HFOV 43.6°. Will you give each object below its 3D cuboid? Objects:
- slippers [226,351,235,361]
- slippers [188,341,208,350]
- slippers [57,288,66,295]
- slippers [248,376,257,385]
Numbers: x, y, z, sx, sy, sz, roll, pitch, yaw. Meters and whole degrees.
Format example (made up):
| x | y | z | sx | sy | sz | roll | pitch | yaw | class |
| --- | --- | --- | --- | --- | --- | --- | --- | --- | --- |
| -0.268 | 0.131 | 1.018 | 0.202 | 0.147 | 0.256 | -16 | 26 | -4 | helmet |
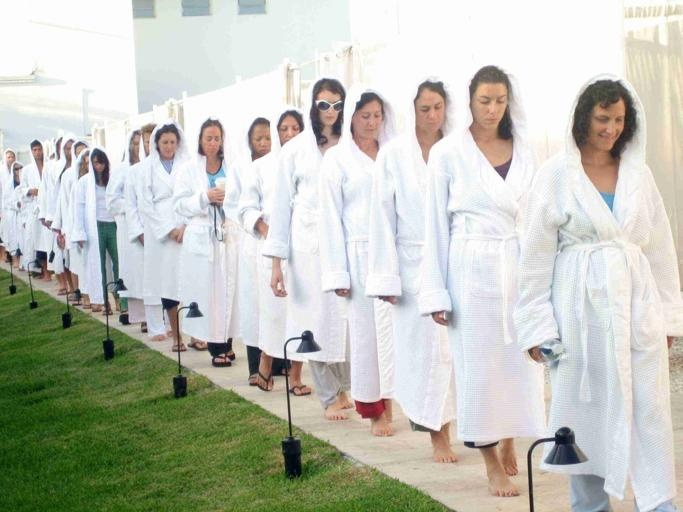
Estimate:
| x | y | z | sx | sy | sz | roll | pitch | yaw | class |
| --- | --- | --- | --- | --- | --- | --- | --- | --- | --- |
| -1.018 | 0.920 | 7.874 | 0.058 | 0.053 | 0.082 | 1 | 4 | -2 | slippers |
| -1.423 | 0.884 | 8.502 | 0.093 | 0.052 | 0.186 | -4 | 4 | -38 | slippers |
| -4.266 | 0.534 | 13.009 | 0.086 | 0.088 | 0.220 | 0 | -4 | -11 | slippers |
| -0.719 | 1.004 | 6.930 | 0.072 | 0.062 | 0.155 | 1 | -1 | -9 | slippers |
